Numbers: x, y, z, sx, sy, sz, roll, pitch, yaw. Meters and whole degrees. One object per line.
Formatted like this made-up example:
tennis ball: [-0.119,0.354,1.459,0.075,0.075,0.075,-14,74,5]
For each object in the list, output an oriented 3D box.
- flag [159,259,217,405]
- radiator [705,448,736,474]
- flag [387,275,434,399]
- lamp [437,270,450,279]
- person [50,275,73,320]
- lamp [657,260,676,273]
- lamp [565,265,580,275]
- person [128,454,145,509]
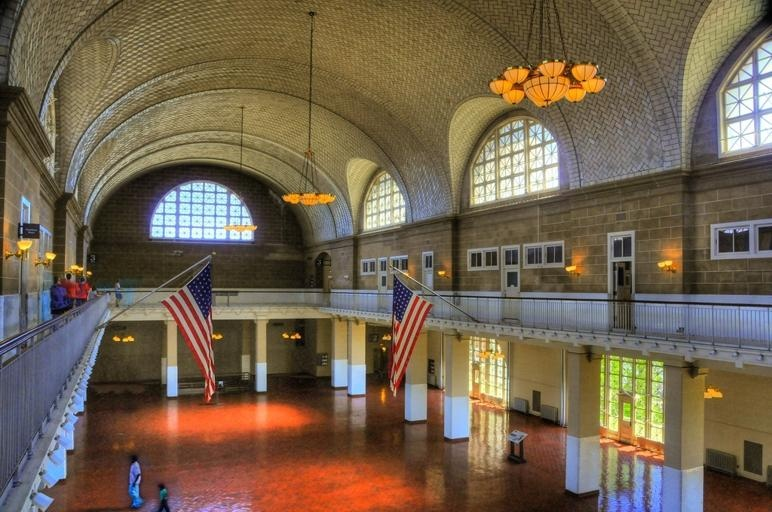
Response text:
flag: [-6.624,2.640,18.953,1.257,4.935,2.101,0,0,-17]
radiator: [13.448,8.268,22.099,0.435,1.022,1.138,3,-7,-31]
flag: [0.692,2.943,20.775,1.399,4.166,1.551,0,0,-31]
lamp: [3.134,1.058,30.342,0.250,0.381,0.947,0,-1,-24]
person: [-10.440,1.337,17.769,0.522,1.201,1.764,0,0,-29]
lamp: [10.137,0.433,19.866,0.412,0.381,0.508,2,-5,-26]
lamp: [7.813,0.634,23.246,0.339,0.383,0.729,0,-1,-29]
person: [-9.173,8.115,20.166,0.475,1.868,1.459,0,0,-25]
